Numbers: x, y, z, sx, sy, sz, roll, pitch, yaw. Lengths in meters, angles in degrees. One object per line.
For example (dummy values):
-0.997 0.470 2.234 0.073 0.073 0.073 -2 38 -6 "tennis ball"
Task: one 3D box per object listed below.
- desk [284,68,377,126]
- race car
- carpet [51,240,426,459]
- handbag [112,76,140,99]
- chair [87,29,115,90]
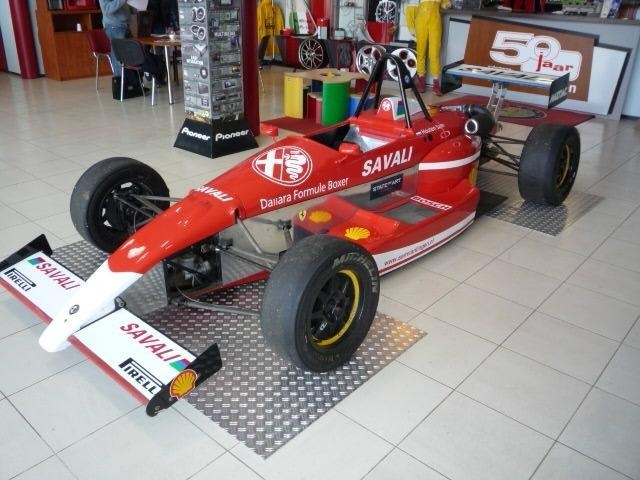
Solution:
0.072 -2.387 6.805 1.170 0.565 1.097 10 27 27 "desk"
0.337 -0.148 2.972 3.609 1.083 1.926 -23 35 -35 "race car"
-0.231 0.611 2.231 1.628 0.013 0.881 26 37 35 "carpet"
-3.494 -2.724 7.567 0.225 0.268 0.402 13 28 19 "handbag"
-4.164 -3.538 8.359 0.638 0.866 0.610 22 21 22 "chair"
